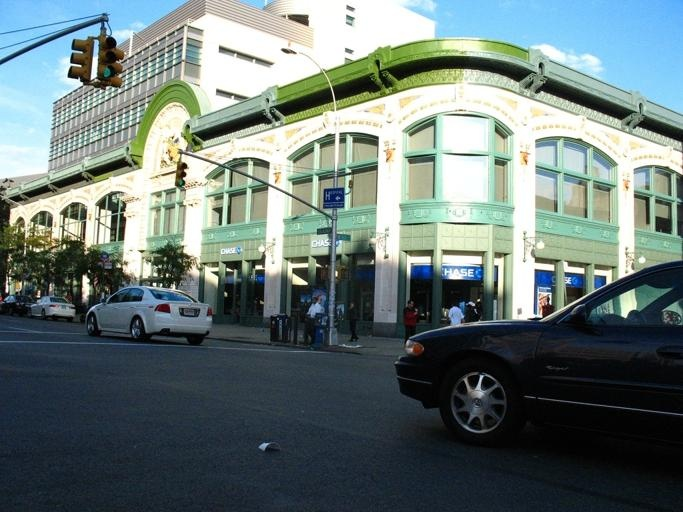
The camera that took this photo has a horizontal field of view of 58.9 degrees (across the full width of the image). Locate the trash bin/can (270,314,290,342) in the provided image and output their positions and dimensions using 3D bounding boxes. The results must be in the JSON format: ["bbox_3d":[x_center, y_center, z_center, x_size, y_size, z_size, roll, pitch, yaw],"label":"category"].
[{"bbox_3d":[-2.408,2.904,24.224,0.805,1.098,0.680,3,-4,-5],"label":"trash bin/can"}]

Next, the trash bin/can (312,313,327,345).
[{"bbox_3d":[-0.763,2.845,23.448,0.659,1.191,0.683,4,-4,-23],"label":"trash bin/can"}]

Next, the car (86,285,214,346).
[{"bbox_3d":[-6.729,1.911,20.196,4.888,1.755,1.848,0,-4,29],"label":"car"}]

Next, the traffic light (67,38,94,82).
[{"bbox_3d":[-5.780,-4.433,13.482,0.464,1.215,1.088,4,-4,-25],"label":"traffic light"}]

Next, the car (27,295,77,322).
[{"bbox_3d":[-18.060,3.290,38.101,3.608,1.436,1.478,-1,-6,45],"label":"car"}]
